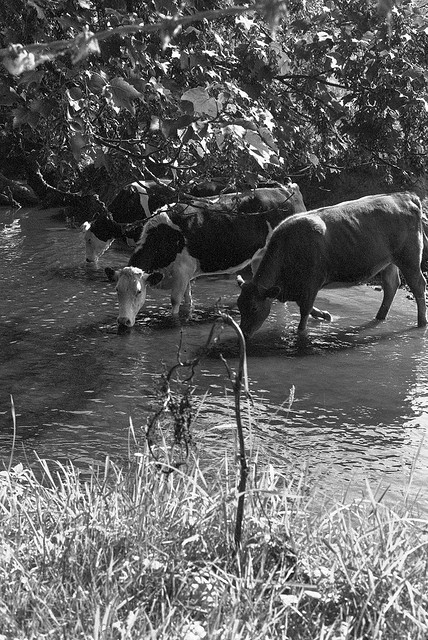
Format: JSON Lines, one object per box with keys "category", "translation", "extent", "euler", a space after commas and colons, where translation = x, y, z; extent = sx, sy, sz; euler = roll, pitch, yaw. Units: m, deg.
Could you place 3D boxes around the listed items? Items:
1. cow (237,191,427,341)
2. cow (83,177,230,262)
{"category": "cow", "translation": [1.456, -0.681, 8.878], "extent": [2.644, 1.542, 0.770], "euler": [-6, 16, -27]}
{"category": "cow", "translation": [-0.827, -1.583, 12.939], "extent": [2.967, 1.468, 0.684], "euler": [-8, 10, 13]}
